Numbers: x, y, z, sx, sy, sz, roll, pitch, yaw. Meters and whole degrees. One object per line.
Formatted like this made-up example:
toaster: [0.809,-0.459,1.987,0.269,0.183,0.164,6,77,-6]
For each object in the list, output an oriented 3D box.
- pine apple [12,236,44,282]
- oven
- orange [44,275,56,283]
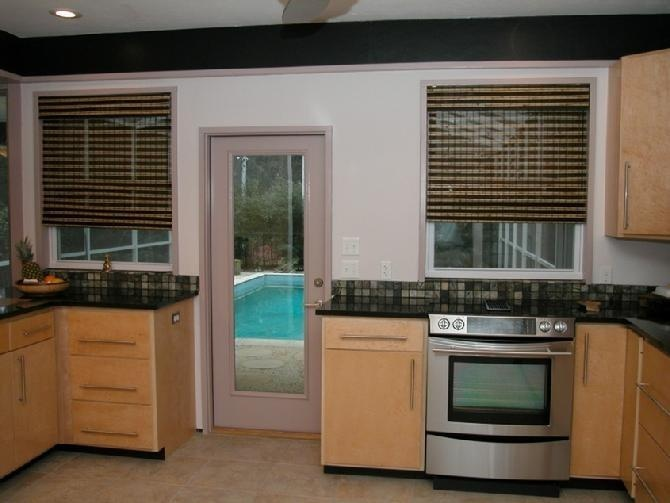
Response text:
pine apple: [-2.360,0.058,4.563,0.178,0.329,0.512,-2,3,-28]
oven: [1.083,0.992,4.262,1.007,1.127,0.863,2,-3,-3]
orange: [-2.123,0.210,4.402,0.059,0.056,0.059,18,13,40]
